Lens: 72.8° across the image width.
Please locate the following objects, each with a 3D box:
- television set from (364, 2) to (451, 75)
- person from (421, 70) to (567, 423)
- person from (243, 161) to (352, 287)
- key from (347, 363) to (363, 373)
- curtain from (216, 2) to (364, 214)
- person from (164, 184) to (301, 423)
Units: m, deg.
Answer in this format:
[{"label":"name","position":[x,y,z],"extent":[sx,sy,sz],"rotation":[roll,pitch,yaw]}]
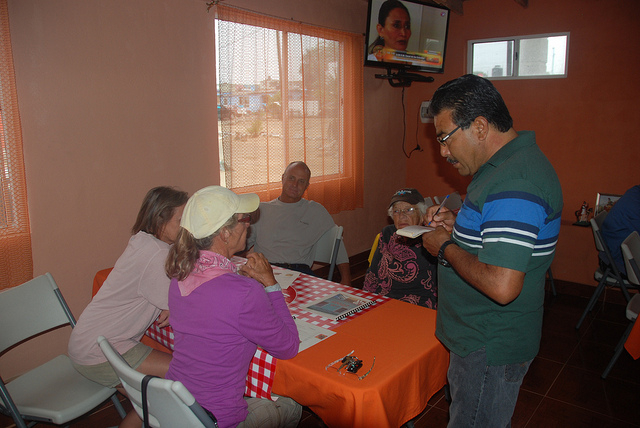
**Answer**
[{"label":"television set","position":[1.161,-2.298,5.667],"extent":[1.296,0.848,0.205],"rotation":[-10,16,-29]},{"label":"person","position":[0.803,0.203,2.093],"extent":[0.589,1.687,0.412],"rotation":[6,16,29]},{"label":"person","position":[-0.279,0.120,3.853],"extent":[1.248,1.137,0.681],"rotation":[5,1,-16]},{"label":"key","position":[0.174,0.767,2.159],"extent":[0.046,0.017,0.033],"rotation":[-12,13,-33]},{"label":"curtain","position":[-0.356,-1.211,4.698],"extent":[2.492,2.547,0.254],"rotation":[-5,7,-42]},{"label":"person","position":[-0.473,0.490,2.212],"extent":[0.651,1.205,0.428],"rotation":[-8,15,-23]}]
